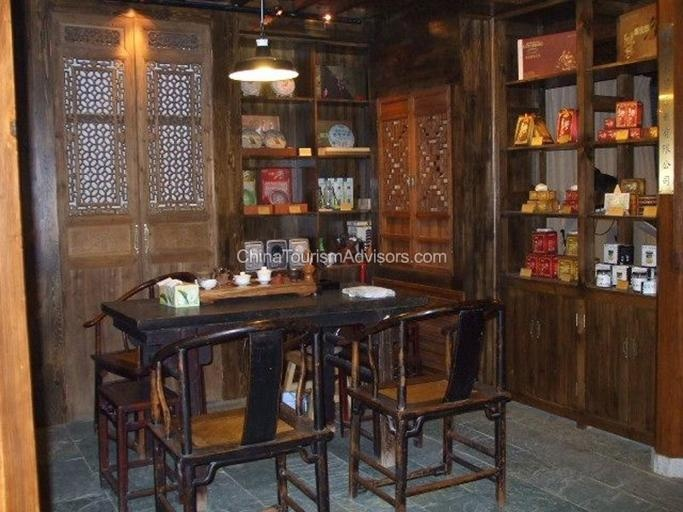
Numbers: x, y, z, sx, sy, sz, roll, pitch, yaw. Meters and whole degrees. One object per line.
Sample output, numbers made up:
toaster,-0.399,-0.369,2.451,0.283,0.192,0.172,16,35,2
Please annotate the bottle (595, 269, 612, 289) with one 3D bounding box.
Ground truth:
bottle,1.881,0.157,4.473,0.110,0.137,0.113,-3,6,-25

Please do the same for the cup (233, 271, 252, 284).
cup,-0.684,0.138,4.267,0.089,0.080,0.094,1,0,0

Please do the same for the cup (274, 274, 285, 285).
cup,-0.432,0.153,4.359,0.066,0.045,0.067,0,14,0

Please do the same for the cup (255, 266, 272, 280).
cup,-0.542,0.113,4.382,0.096,0.096,0.083,3,3,13

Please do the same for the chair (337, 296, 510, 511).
chair,0.465,0.912,3.715,0.957,1.552,0.840,-3,7,-30

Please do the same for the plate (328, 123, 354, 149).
plate,-0.002,-1.182,6.086,0.252,0.278,0.062,1,4,-24

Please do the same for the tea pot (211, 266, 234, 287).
tea pot,-0.834,0.138,4.410,0.127,0.197,0.213,-1,-3,26

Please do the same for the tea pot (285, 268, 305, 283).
tea pot,-0.440,0.156,5.743,0.128,0.143,0.236,3,5,-14

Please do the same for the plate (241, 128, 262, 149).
plate,-0.805,-1.078,5.622,0.169,0.208,0.318,-3,6,-6

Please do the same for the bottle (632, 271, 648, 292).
bottle,2.043,0.167,4.281,0.104,0.142,0.101,-2,6,0

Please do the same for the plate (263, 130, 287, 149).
plate,-0.615,-1.089,5.776,0.171,0.143,0.203,0,0,-14

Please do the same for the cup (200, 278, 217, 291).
cup,-0.888,0.184,4.141,0.075,0.051,0.073,1,4,0
